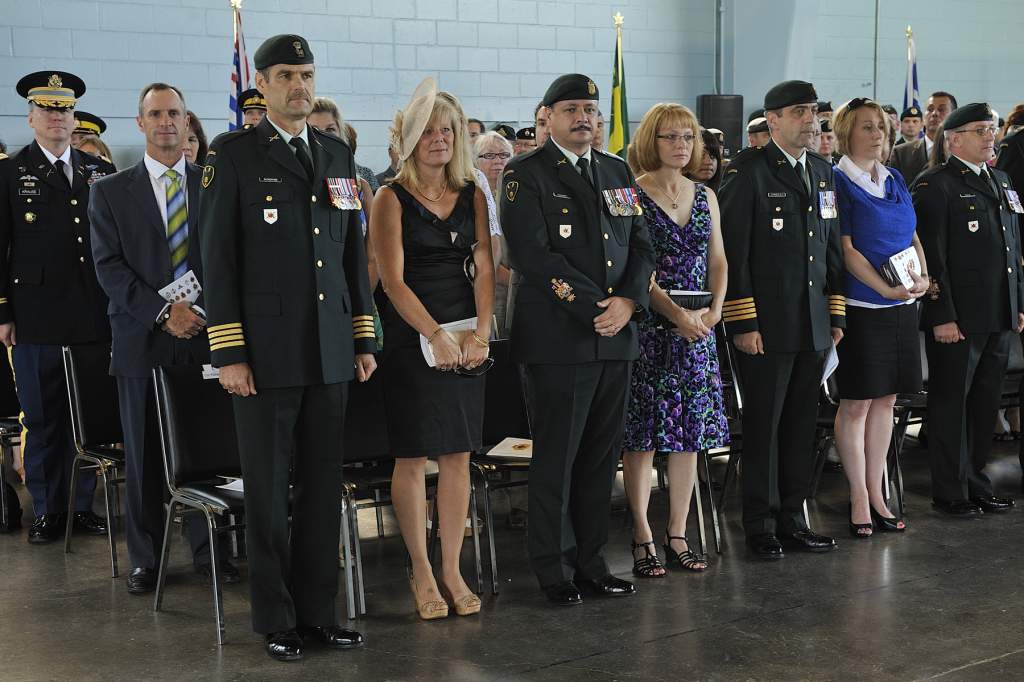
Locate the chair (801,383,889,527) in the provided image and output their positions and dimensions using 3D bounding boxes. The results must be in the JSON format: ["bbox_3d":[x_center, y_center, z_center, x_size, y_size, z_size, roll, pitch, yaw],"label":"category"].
[{"bbox_3d":[1.821,0.653,6.116,0.666,0.925,0.637,-1,2,10],"label":"chair"}]

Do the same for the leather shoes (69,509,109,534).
[{"bbox_3d":[-2.428,1.047,6.013,0.268,0.110,0.096,0,0,9],"label":"leather shoes"}]

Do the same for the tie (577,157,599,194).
[{"bbox_3d":[0.370,-0.797,4.990,0.094,0.164,0.040,-8,-12,-11],"label":"tie"}]

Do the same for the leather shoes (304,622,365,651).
[{"bbox_3d":[-0.772,1.286,4.571,0.258,0.101,0.104,-1,-4,11],"label":"leather shoes"}]

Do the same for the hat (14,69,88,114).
[{"bbox_3d":[-2.564,-1.373,5.816,0.295,0.135,0.273,-1,0,-32],"label":"hat"}]

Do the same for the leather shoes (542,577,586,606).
[{"bbox_3d":[0.257,1.181,4.970,0.193,0.095,0.162,-3,11,-12],"label":"leather shoes"}]

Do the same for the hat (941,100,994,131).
[{"bbox_3d":[2.650,-1.301,6.072,0.204,0.081,0.174,-8,6,29],"label":"hat"}]

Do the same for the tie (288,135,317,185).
[{"bbox_3d":[-0.885,-0.791,4.477,0.063,0.290,0.076,-23,-19,0],"label":"tie"}]

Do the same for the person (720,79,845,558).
[{"bbox_3d":[1.430,-0.166,5.520,0.618,2.356,0.487,-3,11,-10],"label":"person"}]

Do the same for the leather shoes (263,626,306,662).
[{"bbox_3d":[-0.955,1.309,4.465,0.089,0.073,0.174,5,-9,-31],"label":"leather shoes"}]

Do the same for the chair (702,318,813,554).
[{"bbox_3d":[1.470,0.472,5.609,0.610,1.280,0.380,-5,7,-20],"label":"chair"}]

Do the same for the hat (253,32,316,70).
[{"bbox_3d":[-0.977,-1.233,4.460,0.235,0.156,0.165,-4,11,-15],"label":"hat"}]

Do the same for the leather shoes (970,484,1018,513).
[{"bbox_3d":[2.795,0.918,6.078,0.193,0.074,0.136,-2,2,40],"label":"leather shoes"}]

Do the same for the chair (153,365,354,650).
[{"bbox_3d":[-1.322,0.708,4.893,0.730,1.007,0.678,4,0,15],"label":"chair"}]

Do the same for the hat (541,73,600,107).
[{"bbox_3d":[0.272,-1.195,4.999,0.191,0.084,0.176,-8,3,35],"label":"hat"}]

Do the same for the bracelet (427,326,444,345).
[{"bbox_3d":[-0.339,-0.028,4.712,0.068,0.066,0.070,-6,-13,29],"label":"bracelet"}]

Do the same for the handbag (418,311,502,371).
[{"bbox_3d":[-0.275,-0.001,4.762,0.232,0.230,0.078,-5,-6,-33],"label":"handbag"}]

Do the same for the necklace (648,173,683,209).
[{"bbox_3d":[0.778,-0.760,5.316,0.172,0.232,0.101,-3,-11,-20],"label":"necklace"}]

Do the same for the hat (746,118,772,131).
[{"bbox_3d":[1.711,-1.493,7.203,0.230,0.067,0.192,-11,12,-41],"label":"hat"}]

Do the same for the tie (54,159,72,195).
[{"bbox_3d":[-2.490,-0.930,5.853,0.053,0.221,0.057,-18,3,-18],"label":"tie"}]

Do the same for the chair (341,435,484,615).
[{"bbox_3d":[-0.501,0.789,5.105,0.781,0.926,0.829,-3,-2,-20],"label":"chair"}]

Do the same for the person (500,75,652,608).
[{"bbox_3d":[0.330,-0.022,4.984,0.712,2.446,0.576,-2,11,-5],"label":"person"}]

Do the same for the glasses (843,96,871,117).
[{"bbox_3d":[1.882,-1.296,5.703,0.093,0.028,0.103,-6,-28,-27],"label":"glasses"}]

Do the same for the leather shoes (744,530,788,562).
[{"bbox_3d":[1.325,1.069,5.445,0.091,0.065,0.215,-2,-4,-18],"label":"leather shoes"}]

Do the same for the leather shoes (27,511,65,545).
[{"bbox_3d":[-2.623,1.062,5.900,0.105,0.116,0.274,1,-3,6],"label":"leather shoes"}]

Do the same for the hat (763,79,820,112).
[{"bbox_3d":[1.466,-1.284,5.505,0.203,0.070,0.179,-8,6,30],"label":"hat"}]

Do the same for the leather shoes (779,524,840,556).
[{"bbox_3d":[1.560,1.067,5.527,0.312,0.122,0.117,-5,-4,24],"label":"leather shoes"}]

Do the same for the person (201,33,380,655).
[{"bbox_3d":[-0.926,0.023,4.479,0.701,2.607,0.504,-5,11,-17],"label":"person"}]

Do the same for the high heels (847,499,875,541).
[{"bbox_3d":[1.931,1.008,5.737,0.143,0.080,0.211,2,11,17],"label":"high heels"}]

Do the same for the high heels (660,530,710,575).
[{"bbox_3d":[0.880,1.086,5.366,0.115,0.118,0.260,-2,1,-35],"label":"high heels"}]

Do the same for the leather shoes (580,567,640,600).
[{"bbox_3d":[0.470,1.172,5.029,0.272,0.095,0.109,-6,-7,22],"label":"leather shoes"}]

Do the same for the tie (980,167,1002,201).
[{"bbox_3d":[2.767,-0.910,6.078,0.098,0.192,0.046,-6,-15,-19],"label":"tie"}]
